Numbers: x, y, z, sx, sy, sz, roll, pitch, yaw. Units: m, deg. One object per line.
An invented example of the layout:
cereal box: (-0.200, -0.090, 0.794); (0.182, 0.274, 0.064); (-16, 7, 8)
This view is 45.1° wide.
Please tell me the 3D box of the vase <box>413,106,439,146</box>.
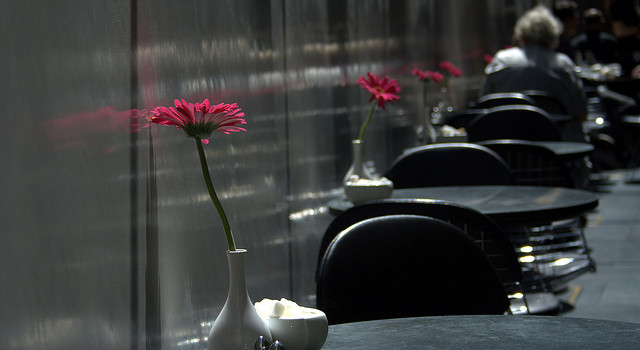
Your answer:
vase: (0.690, -0.320, 5.022); (0.243, 0.178, 0.383); (8, -7, 15)

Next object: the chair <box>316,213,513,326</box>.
chair: (0.317, 0.386, 2.841); (0.459, 0.620, 0.459); (-4, -2, -4)
